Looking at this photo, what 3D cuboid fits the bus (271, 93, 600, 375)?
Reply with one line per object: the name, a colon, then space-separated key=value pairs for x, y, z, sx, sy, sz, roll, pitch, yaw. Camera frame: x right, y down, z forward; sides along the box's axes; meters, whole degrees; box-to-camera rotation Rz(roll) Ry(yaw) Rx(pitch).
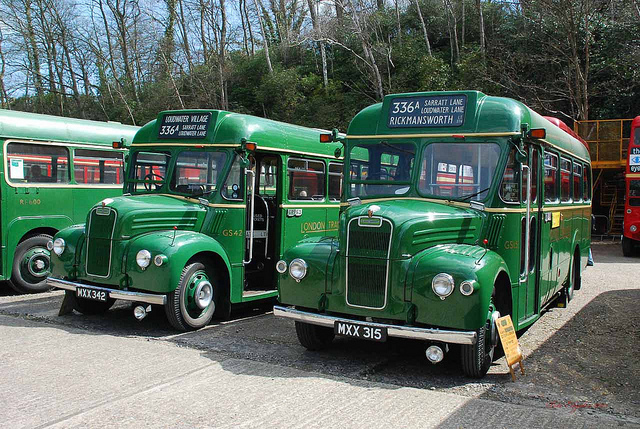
bus: x=2.977 y=0.249 z=9.920 sx=3.128 sy=3.661 sz=7.851 roll=-1 pitch=-3 yaw=34
